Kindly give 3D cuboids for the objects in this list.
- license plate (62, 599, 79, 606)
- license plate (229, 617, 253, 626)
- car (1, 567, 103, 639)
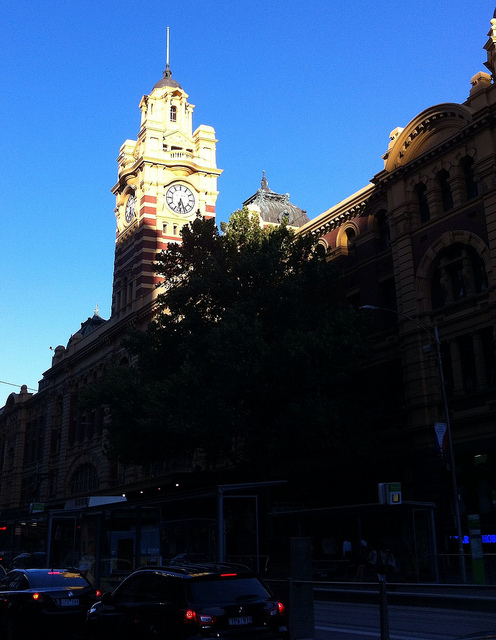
[{"bbox_3d":[-2.889,4.611,10.845,0.262,0.103,0.074,4,-21,-20],"label":"license plate"},{"bbox_3d":[-0.077,3.315,7.304,0.029,0.080,0.367,-20,-26,38],"label":"license plate"},{"bbox_3d":[-3.335,4.673,10.929,1.218,0.985,2.928,7,-18,-26],"label":"car"}]
